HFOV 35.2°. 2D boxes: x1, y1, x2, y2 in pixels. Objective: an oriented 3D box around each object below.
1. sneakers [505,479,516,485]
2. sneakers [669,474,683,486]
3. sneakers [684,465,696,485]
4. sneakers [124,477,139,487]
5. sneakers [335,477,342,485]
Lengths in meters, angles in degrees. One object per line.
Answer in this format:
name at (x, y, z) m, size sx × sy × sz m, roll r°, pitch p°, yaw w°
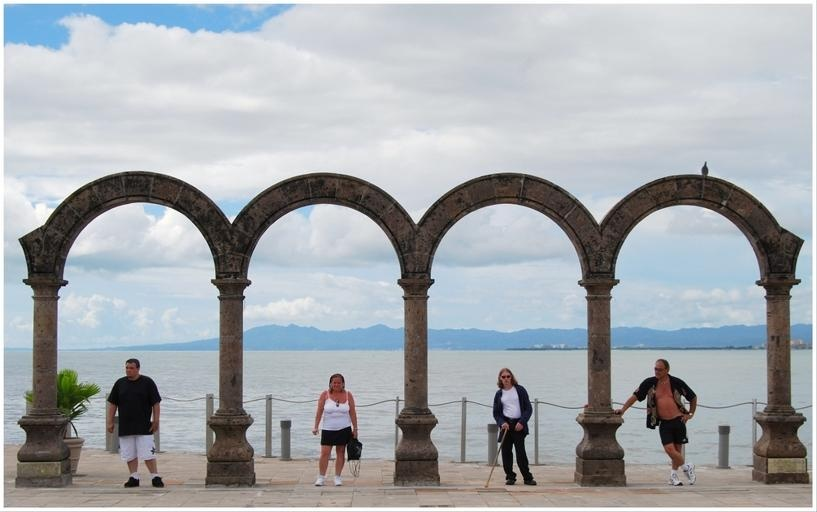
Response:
sneakers at (2.586, 5.612, 31.929) m, size 0.277 × 0.152 × 0.226 m, roll 0°, pitch -3°, yaw -9°
sneakers at (6.718, 5.571, 32.050) m, size 0.316 × 0.262 × 0.400 m, roll -1°, pitch -3°, yaw 10°
sneakers at (7.054, 5.471, 32.150) m, size 0.291 × 0.580 × 0.214 m, roll 15°, pitch -32°, yaw -33°
sneakers at (-6.787, 5.574, 31.728) m, size 0.404 × 0.235 × 0.270 m, roll 1°, pitch -3°, yaw -27°
sneakers at (-1.719, 5.589, 31.856) m, size 0.177 × 0.166 × 0.432 m, roll 1°, pitch -10°, yaw -8°
